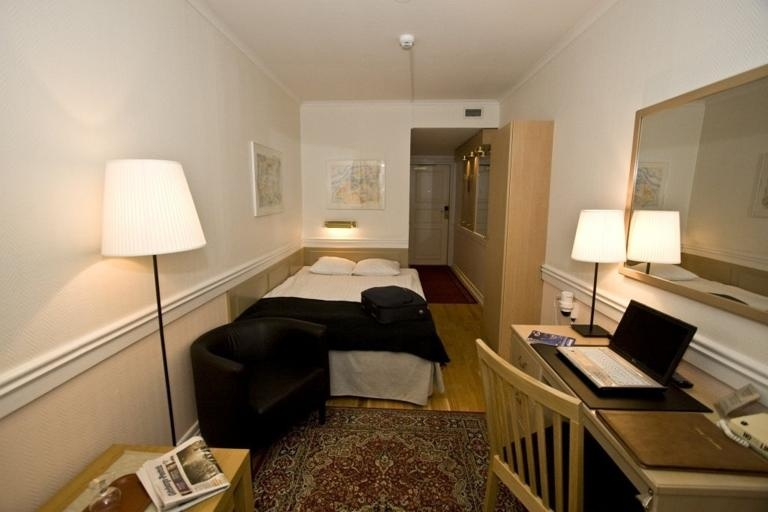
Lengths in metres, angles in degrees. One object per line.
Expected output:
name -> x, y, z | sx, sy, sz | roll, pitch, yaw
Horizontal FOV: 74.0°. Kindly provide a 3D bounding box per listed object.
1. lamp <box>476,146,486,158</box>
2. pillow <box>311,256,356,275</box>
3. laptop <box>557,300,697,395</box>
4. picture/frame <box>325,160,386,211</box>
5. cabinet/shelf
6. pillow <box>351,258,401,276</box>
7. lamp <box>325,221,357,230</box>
lamp -> 1.195, -1.290, 6.251 | 0.086, 0.087, 0.089 | 3, 11, 8
pillow -> -0.577, 0.093, 5.726 | 0.486, 0.137, 0.418 | 0, 12, -3
laptop -> 1.414, 0.561, 2.958 | 0.526, 0.366, 0.549 | 0, 10, -5
picture/frame -> -0.341, -0.862, 5.939 | 0.586, 0.491, 0.031 | 0, 19, 1
cabinet/shelf -> 1.187, -0.162, 4.539 | 0.437, 2.063, 0.594 | 1, 12, 2
pillow -> -0.092, 0.099, 5.770 | 0.522, 0.119, 0.506 | 0, 12, -2
lamp -> -0.522, -0.370, 5.982 | 0.381, 0.102, 0.135 | 1, 12, 0
